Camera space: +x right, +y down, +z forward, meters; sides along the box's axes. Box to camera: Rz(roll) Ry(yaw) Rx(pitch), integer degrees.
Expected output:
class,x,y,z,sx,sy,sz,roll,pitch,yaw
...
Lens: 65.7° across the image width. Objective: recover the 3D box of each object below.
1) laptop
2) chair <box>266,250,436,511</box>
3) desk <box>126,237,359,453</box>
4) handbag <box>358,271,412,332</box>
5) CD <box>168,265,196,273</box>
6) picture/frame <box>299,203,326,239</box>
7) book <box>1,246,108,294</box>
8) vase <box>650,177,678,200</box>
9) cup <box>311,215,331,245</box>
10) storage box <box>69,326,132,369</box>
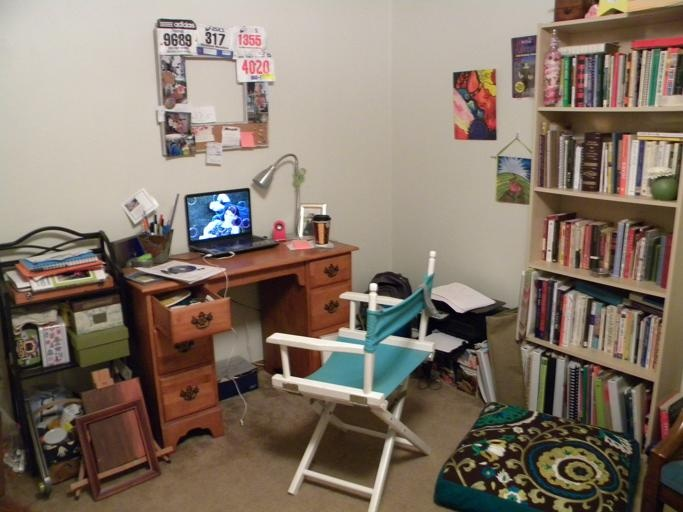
class,x,y,z,sx,sy,sz,roll,pitch,yaw
laptop,-0.676,-0.209,3.351,0.377,0.312,0.491,18,22,41
chair,0.028,0.724,2.919,0.795,1.383,0.946,7,15,24
desk,-0.576,0.482,3.330,1.409,0.959,0.826,-12,19,-39
handbag,0.328,0.321,3.801,0.442,0.455,0.330,-5,7,1
CD,-0.881,0.075,2.932,0.146,0.011,0.138,-9,18,-16
picture/frame,-0.198,-0.220,3.576,0.254,0.322,0.034,-1,8,-31
book,-1.491,0.080,2.765,0.433,0.150,0.286,-15,21,-30
vase,1.582,-0.331,2.608,0.130,0.115,0.106,10,23,36
cup,-0.129,-0.162,3.431,0.192,0.224,0.165,0,1,-7
storage box,-1.262,0.436,2.764,0.239,0.141,0.236,-9,10,-43
